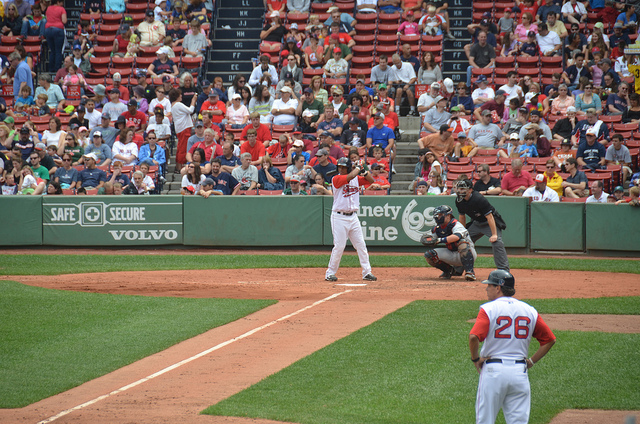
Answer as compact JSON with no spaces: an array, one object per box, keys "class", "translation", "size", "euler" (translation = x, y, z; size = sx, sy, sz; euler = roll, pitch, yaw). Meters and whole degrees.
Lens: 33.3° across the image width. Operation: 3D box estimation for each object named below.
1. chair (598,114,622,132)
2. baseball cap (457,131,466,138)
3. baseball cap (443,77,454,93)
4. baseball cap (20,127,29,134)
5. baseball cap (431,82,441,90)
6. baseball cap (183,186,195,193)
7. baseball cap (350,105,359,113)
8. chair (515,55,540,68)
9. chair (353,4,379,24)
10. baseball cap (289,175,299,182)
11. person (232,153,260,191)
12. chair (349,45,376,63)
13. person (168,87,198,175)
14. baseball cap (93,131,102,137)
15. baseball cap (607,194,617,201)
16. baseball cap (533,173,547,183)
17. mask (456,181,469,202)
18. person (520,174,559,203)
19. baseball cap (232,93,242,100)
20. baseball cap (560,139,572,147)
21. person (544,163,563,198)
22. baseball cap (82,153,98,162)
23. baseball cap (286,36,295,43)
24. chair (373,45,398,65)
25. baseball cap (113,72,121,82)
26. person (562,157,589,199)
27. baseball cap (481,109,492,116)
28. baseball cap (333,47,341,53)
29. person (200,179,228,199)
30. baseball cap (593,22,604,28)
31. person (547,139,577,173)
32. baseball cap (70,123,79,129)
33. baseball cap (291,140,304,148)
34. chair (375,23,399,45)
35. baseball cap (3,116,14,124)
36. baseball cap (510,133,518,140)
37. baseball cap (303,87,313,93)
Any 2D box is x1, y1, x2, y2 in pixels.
[{"class":"chair","translation":[9.627,-2.849,35.415],"size":[0.548,0.722,0.516],"euler":[-3,-18,12]},{"class":"baseball cap","translation":[4.638,-2.502,34.916],"size":[0.263,0.218,0.328],"euler":[-1,1,9]},{"class":"baseball cap","translation":[4.407,-4.361,36.923],"size":[0.327,0.463,0.244],"euler":[-21,-28,-36]},{"class":"baseball cap","translation":[-9.740,-2.639,35.258],"size":[0.254,0.151,0.347],"euler":[1,2,-7]},{"class":"baseball cap","translation":[3.991,-4.293,36.844],"size":[0.275,0.259,0.379],"euler":[-1,1,17]},{"class":"baseball cap","translation":[-4.110,-0.712,33.815],"size":[0.230,0.169,0.386],"euler":[7,-14,37]},{"class":"baseball cap","translation":[1.162,-3.405,35.699],"size":[0.297,0.280,0.393],"euler":[-2,1,1]},{"class":"chair","translation":[7.446,-5.311,38.265],"size":[0.606,0.522,0.584],"euler":[1,18,16]},{"class":"chair","translation":[1.780,-7.409,41.085],"size":[0.640,0.838,0.758],"euler":[3,46,5]},{"class":"baseball cap","translation":[-0.788,-1.030,33.355],"size":[0.275,0.219,0.319],"euler":[-2,1,-3]},{"class":"person","translation":[-2.370,-1.225,33.797],"size":[0.868,1.249,1.004],"euler":[2,6,-23]},{"class":"chair","translation":[1.592,-5.873,39.721],"size":[0.702,0.984,0.753],"euler":[1,4,5]},{"class":"person","translation":[-4.680,-2.760,36.548],"size":[0.860,2.982,1.340],"euler":[-2,1,-8]},{"class":"baseball cap","translation":[-7.327,-2.553,35.236],"size":[0.172,0.235,0.233],"euler":[-2,8,-4]},{"class":"baseball cap","translation":[8.928,-0.442,32.582],"size":[0.276,0.138,0.180],"euler":[-1,1,15]},{"class":"baseball cap","translation":[6.767,-1.017,32.583],"size":[0.365,0.267,0.243],"euler":[-2,1,-10]},{"class":"mask","translation":[3.841,-0.538,28.636],"size":[0.315,0.546,0.435],"euler":[-1,1,6]},{"class":"person","translation":[6.800,-0.961,32.846],"size":[0.641,0.494,0.942],"euler":[-3,18,-21]},{"class":"baseball cap","translation":[-2.841,-3.914,36.502],"size":[0.280,0.220,0.392],"euler":[-2,1,-5]},{"class":"baseball cap","translation":[7.834,-2.163,33.936],"size":[0.302,0.247,0.450],"euler":[-1,1,10]},{"class":"person","translation":[7.310,-0.982,33.200],"size":[0.650,0.905,0.321],"euler":[-7,-2,14]},{"class":"baseball cap","translation":[-7.338,-1.778,34.492],"size":[0.274,0.156,0.428],"euler":[5,-15,17]},{"class":"baseball cap","translation":[-1.059,-6.199,38.955],"size":[0.275,0.258,0.379],"euler":[-2,1,-1]},{"class":"chair","translation":[2.409,-5.659,39.531],"size":[0.778,0.810,1.040],"euler":[2,10,6]},{"class":"baseball cap","translation":[-7.188,-4.713,37.827],"size":[0.250,0.281,0.355],"euler":[1,4,-10]},{"class":"person","translation":[7.953,-1.032,33.196],"size":[0.792,1.254,0.649],"euler":[-1,1,13]},{"class":"baseball cap","translation":[5.471,-3.218,35.041],"size":[0.282,0.154,0.389],"euler":[1,3,-2]},{"class":"baseball cap","translation":[0.625,-5.808,38.796],"size":[0.246,0.190,0.398],"euler":[3,0,-3]},{"class":"person","translation":[-3.372,-0.705,33.442],"size":[0.519,0.358,0.724],"euler":[-6,-3,35]},{"class":"baseball cap","translation":[10.160,-6.696,38.771],"size":[0.381,0.202,0.246],"euler":[-5,12,-37]},{"class":"person","translation":[7.782,-1.806,33.964],"size":[1.083,0.940,1.940],"euler":[-4,7,7]},{"class":"baseball cap","translation":[-8.265,-2.878,36.248],"size":[0.251,0.177,0.404],"euler":[2,-2,-18]},{"class":"baseball cap","translation":[-0.705,-2.142,34.028],"size":[0.307,0.167,0.457],"euler":[1,0,21]},{"class":"chair","translation":[2.556,-6.606,40.159],"size":[0.755,1.000,0.853],"euler":[1,-1,2]},{"class":"baseball cap","translation":[-10.681,-3.129,36.732],"size":[0.278,0.147,0.207],"euler":[7,14,-11]},{"class":"baseball cap","translation":[6.251,-2.403,34.376],"size":[0.248,0.212,0.343],"euler":[-2,1,6]},{"class":"baseball cap","translation":[-0.368,-4.071,36.124],"size":[0.304,0.199,0.324],"euler":[-2,1,-14]}]
